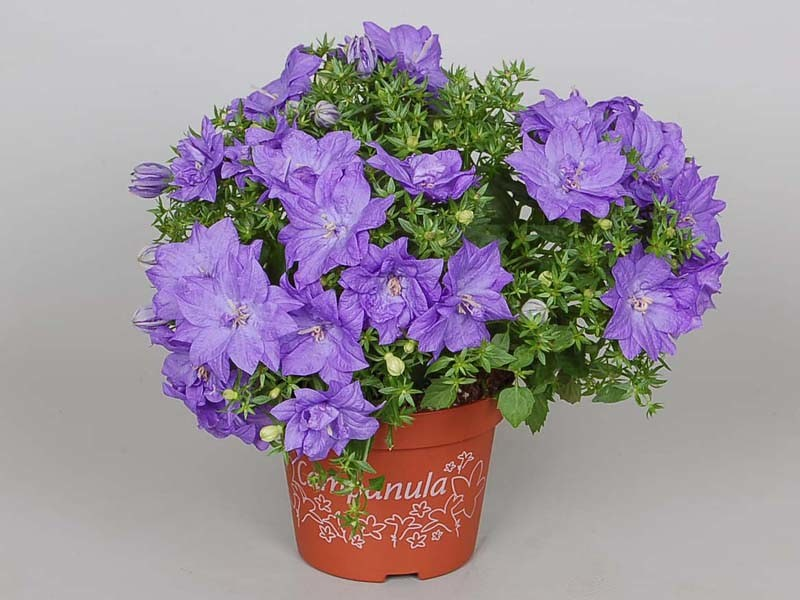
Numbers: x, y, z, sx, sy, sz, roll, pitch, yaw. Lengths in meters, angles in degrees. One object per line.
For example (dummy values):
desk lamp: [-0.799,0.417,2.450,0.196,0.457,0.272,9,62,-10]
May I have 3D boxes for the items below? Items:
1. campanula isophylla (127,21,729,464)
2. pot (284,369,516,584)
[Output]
campanula isophylla: [0.064,-0.152,2.085,1.147,0.851,1.032,-3,47,-4]
pot: [-0.029,0.453,2.289,0.571,0.419,0.563,-1,5,0]
